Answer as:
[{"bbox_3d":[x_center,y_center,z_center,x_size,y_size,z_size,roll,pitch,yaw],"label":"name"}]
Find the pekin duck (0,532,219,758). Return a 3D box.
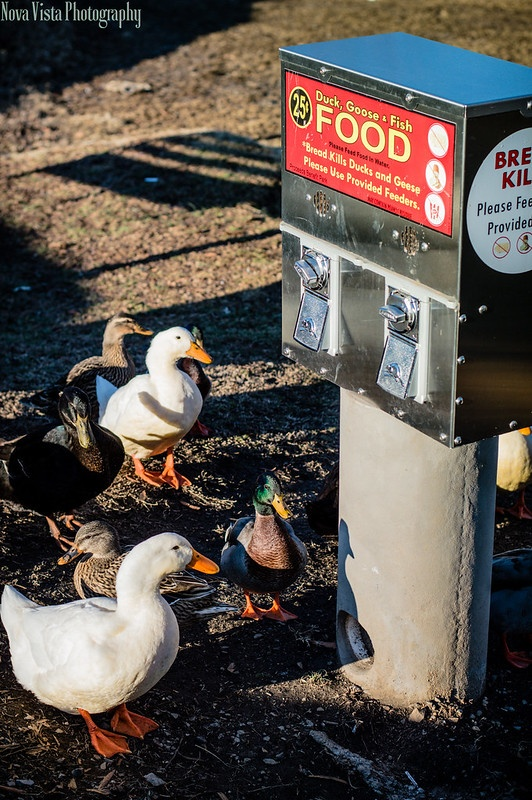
[{"bbox_3d":[-0.632,0.925,3.948,1.031,0.858,0.647,7,10,19],"label":"pekin duck"}]
